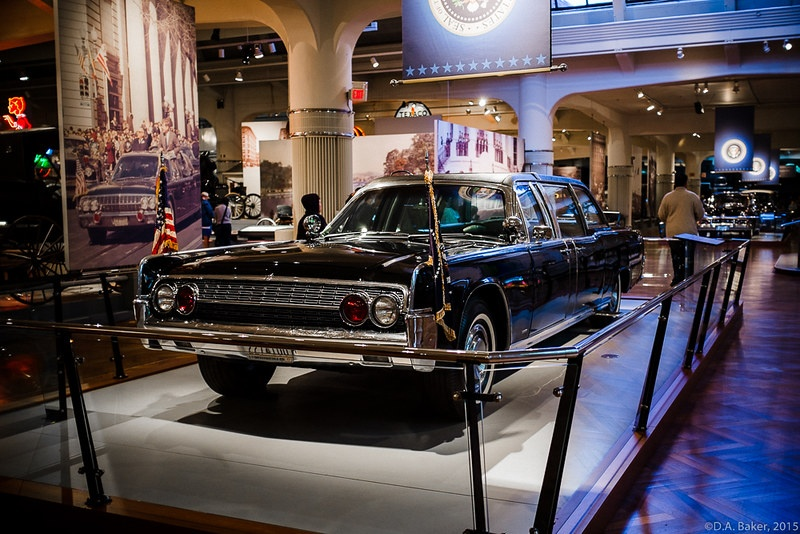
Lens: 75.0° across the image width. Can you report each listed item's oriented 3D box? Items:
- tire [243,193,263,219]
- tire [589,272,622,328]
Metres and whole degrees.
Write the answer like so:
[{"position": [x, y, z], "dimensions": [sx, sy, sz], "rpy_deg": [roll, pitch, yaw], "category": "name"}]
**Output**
[{"position": [-5.805, -2.419, 20.611], "dimensions": [1.120, 1.119, 0.266], "rpy_deg": [13, 18, 29], "category": "tire"}, {"position": [2.198, 0.351, 5.613], "dimensions": [0.172, 0.482, 0.488], "rpy_deg": [15, 40, 30], "category": "tire"}]
